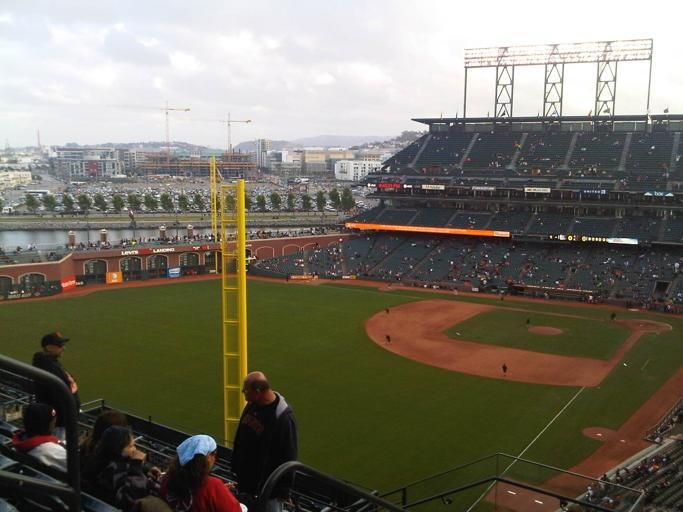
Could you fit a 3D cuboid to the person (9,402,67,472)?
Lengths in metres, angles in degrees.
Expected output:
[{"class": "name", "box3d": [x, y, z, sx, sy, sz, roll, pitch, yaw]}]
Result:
[{"class": "person", "box3d": [-4.680, 2.763, 9.140, 0.647, 0.781, 1.229, -7, 12, -42]}]
